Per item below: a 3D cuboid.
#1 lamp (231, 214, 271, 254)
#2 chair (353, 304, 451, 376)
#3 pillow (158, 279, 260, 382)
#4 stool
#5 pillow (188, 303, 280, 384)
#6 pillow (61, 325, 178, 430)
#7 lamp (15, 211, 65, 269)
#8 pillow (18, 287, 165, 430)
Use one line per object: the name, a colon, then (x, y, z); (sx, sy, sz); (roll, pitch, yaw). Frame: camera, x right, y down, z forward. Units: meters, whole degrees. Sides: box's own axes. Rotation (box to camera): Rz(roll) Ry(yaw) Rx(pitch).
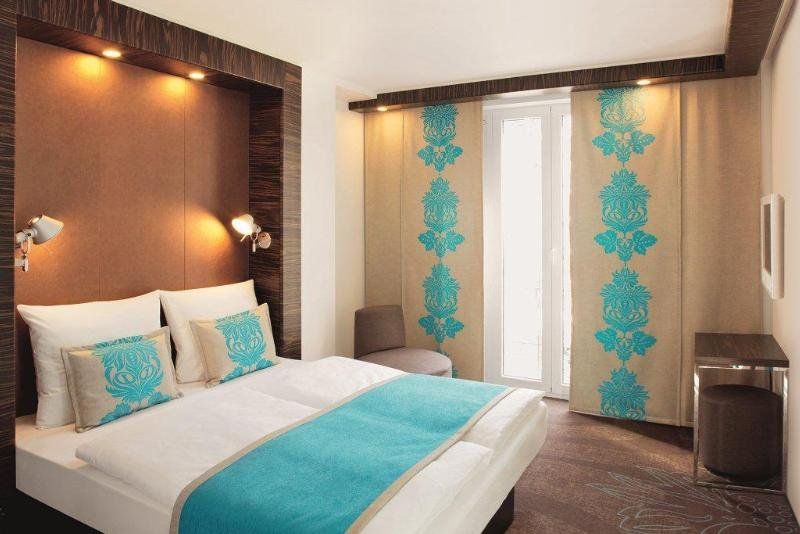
lamp: (-1.320, -0.280, 4.629); (0.291, 0.321, 0.348); (2, 6, 39)
chair: (0.094, 0.695, 5.240); (0.828, 0.664, 0.745); (-2, -1, 44)
pillow: (-1.484, 0.535, 4.518); (0.442, 0.757, 1.135); (-2, 2, 20)
stool: (2.574, 1.251, 4.110); (0.692, 0.511, 0.688); (-3, -8, 35)
pillow: (-1.291, 0.599, 4.109); (0.202, 0.402, 0.582); (-11, -2, 37)
pillow: (-1.819, 0.723, 3.592); (0.270, 0.503, 0.739); (1, 4, 33)
lamp: (-2.353, -0.154, 3.457); (0.223, 0.335, 0.322); (8, 10, 37)
pillow: (-2.023, 0.627, 3.500); (0.334, 0.661, 0.932); (-1, 2, 33)
